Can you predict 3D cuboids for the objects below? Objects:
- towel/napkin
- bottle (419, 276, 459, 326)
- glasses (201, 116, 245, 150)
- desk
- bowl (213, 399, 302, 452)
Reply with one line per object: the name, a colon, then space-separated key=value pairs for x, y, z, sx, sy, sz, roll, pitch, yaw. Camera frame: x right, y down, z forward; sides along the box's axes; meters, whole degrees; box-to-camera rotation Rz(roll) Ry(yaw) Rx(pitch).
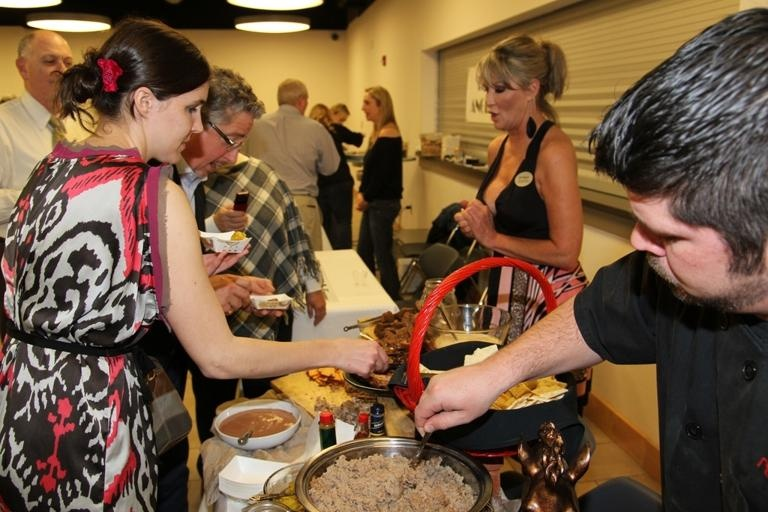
towel/napkin: x=-0.389 y=0.593 z=1.589 sx=0.347 sy=0.082 sz=0.267 roll=-23 pitch=37 yaw=-39
bottle: x=0.218 y=0.176 z=1.938 sx=0.145 sy=0.179 sz=0.189 roll=1 pitch=-8 yaw=-3
glasses: x=-0.670 y=-0.498 z=2.141 sx=0.099 sy=0.030 sz=0.097 roll=46 pitch=7 yaw=13
desk: x=-0.268 y=0.036 z=3.022 sx=0.436 sy=0.524 sz=0.773 roll=-2 pitch=21 yaw=-11
bowl: x=-0.393 y=0.549 z=1.651 sx=0.250 sy=0.081 sz=0.253 roll=1 pitch=11 yaw=0
